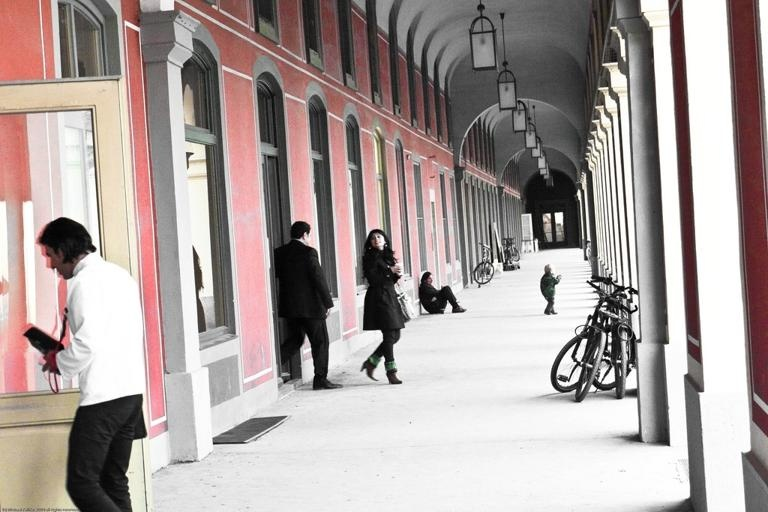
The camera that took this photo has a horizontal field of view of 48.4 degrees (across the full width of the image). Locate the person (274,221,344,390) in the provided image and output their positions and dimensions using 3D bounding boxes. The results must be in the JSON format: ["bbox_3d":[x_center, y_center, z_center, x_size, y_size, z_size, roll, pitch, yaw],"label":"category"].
[{"bbox_3d":[-1.037,0.659,10.994,0.800,2.222,0.570,-2,3,7],"label":"person"}]

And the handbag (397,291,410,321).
[{"bbox_3d":[0.256,0.679,11.473,0.095,0.323,0.197,-7,0,-3],"label":"handbag"}]

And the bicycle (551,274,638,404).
[{"bbox_3d":[2.508,0.960,10.495,1.107,0.879,1.969,-16,1,1],"label":"bicycle"}]

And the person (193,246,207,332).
[{"bbox_3d":[-2.069,0.353,9.468,0.093,0.939,0.229,-3,3,-7],"label":"person"}]

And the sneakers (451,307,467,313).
[{"bbox_3d":[1.684,1.211,19.372,0.325,0.128,0.142,-2,-5,20],"label":"sneakers"}]

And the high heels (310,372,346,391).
[{"bbox_3d":[-0.759,1.648,11.300,0.482,0.226,0.169,-2,2,-6],"label":"high heels"}]

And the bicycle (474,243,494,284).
[{"bbox_3d":[3.383,0.390,29.170,0.769,0.982,1.609,-3,3,3],"label":"bicycle"}]

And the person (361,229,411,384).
[{"bbox_3d":[-0.045,0.665,11.320,0.588,2.046,0.466,-2,3,1],"label":"person"}]

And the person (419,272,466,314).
[{"bbox_3d":[1.159,0.809,19.543,0.795,0.992,1.132,-5,4,-35],"label":"person"}]

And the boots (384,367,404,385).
[{"bbox_3d":[0.112,1.579,11.383,0.307,0.326,0.127,-1,3,-8],"label":"boots"}]
